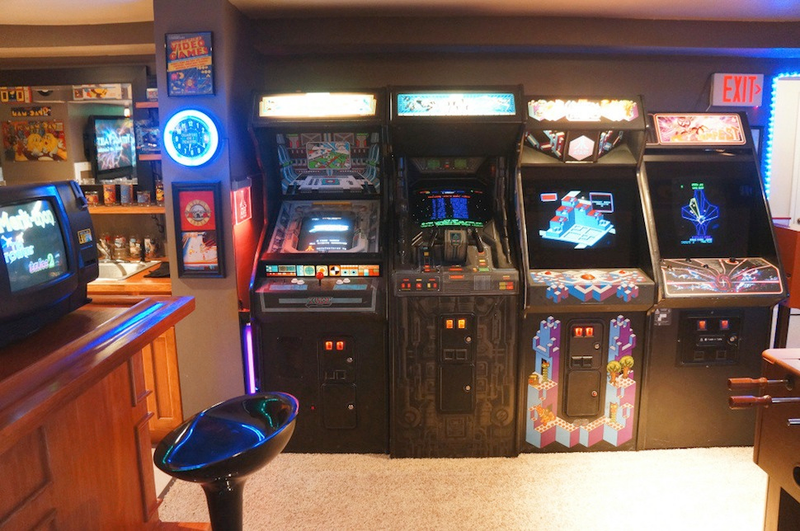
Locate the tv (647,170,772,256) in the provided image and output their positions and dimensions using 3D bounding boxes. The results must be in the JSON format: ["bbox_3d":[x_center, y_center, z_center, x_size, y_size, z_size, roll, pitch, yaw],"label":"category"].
[{"bbox_3d":[2.423,-0.389,4.970,0.710,0.488,0.257,0,-2,-1],"label":"tv"}]

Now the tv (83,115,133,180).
[{"bbox_3d":[-2.662,-1.073,5.771,0.475,0.567,0.065,0,11,13],"label":"tv"}]

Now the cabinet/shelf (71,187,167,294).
[{"bbox_3d":[-2.219,-0.203,5.046,0.983,0.889,0.512,1,-1,-7],"label":"cabinet/shelf"}]

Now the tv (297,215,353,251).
[{"bbox_3d":[-0.596,-0.267,5.037,0.446,0.250,0.267,-3,10,-4],"label":"tv"}]

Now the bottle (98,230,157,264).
[{"bbox_3d":[-2.514,-0.171,5.801,0.538,0.265,0.251,0,-2,1],"label":"bottle"}]

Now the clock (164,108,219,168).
[{"bbox_3d":[-1.613,-0.980,4.880,0.444,0.420,0.097,2,10,7],"label":"clock"}]
